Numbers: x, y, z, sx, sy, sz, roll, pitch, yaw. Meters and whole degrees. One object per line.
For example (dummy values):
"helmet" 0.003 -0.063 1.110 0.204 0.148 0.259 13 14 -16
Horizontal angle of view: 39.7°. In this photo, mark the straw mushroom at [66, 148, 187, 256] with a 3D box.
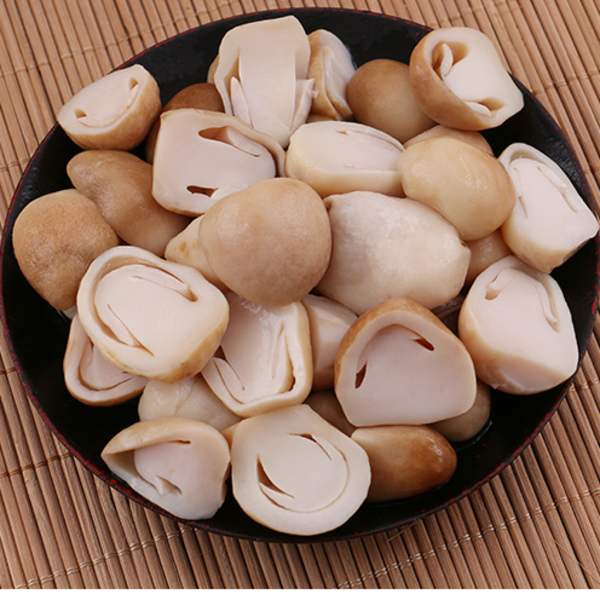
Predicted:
"straw mushroom" -0.173 -0.101 0.812 0.075 0.038 0.119 -41 94 -11

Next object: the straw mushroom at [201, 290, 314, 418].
"straw mushroom" -0.034 0.052 0.776 0.082 0.040 0.120 -13 76 21

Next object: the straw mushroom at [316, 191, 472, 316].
"straw mushroom" 0.079 -0.038 0.718 0.117 0.073 0.106 5 91 0

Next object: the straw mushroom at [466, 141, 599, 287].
"straw mushroom" 0.238 -0.080 0.796 0.079 0.034 0.118 -23 75 -1

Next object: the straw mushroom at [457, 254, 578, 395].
"straw mushroom" 0.197 0.035 0.806 0.107 0.044 0.113 -31 85 -28

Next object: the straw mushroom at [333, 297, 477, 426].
"straw mushroom" 0.095 0.057 0.747 0.126 0.079 0.098 -2 71 0

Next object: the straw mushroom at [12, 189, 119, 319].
"straw mushroom" -0.233 -0.050 0.851 0.110 0.141 0.082 -2 85 -1

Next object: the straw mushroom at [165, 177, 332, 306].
"straw mushroom" -0.028 -0.052 0.746 0.118 0.055 0.104 -19 73 -6

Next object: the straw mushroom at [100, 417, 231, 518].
"straw mushroom" -0.117 0.141 0.751 0.115 0.041 0.097 21 103 -9
